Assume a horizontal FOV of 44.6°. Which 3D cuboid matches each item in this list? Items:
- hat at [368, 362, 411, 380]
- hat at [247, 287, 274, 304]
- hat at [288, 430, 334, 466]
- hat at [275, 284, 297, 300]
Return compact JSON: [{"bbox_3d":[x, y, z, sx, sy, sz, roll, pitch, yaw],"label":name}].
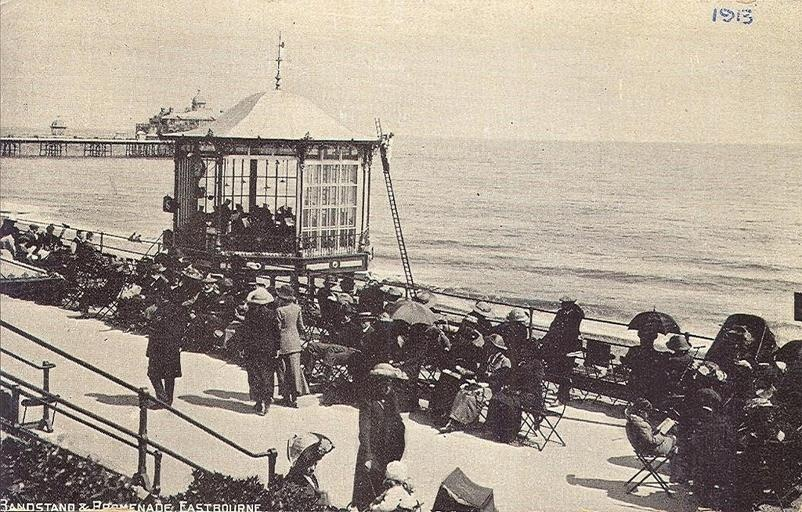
[{"bbox_3d":[-0.260,2.394,19.964,0.722,0.289,0.371,3,5,-3],"label":"hat"},{"bbox_3d":[-3.216,0.924,22.081,0.477,0.123,0.452,-2,12,-26],"label":"hat"},{"bbox_3d":[-1.882,3.991,19.985,0.793,0.632,0.675,3,5,-13],"label":"hat"},{"bbox_3d":[-2.695,0.833,22.483,0.416,0.148,0.355,8,-22,43],"label":"hat"}]
